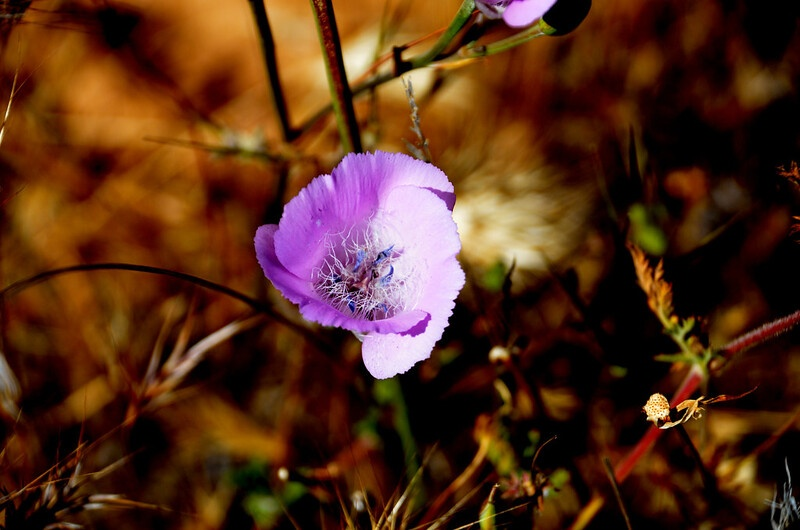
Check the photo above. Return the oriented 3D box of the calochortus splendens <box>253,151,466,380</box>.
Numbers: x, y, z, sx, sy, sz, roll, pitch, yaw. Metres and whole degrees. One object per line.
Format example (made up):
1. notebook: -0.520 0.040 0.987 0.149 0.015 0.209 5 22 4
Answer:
1. calochortus splendens: -0.038 -0.032 2.081 0.569 0.669 0.288 -4 36 45
